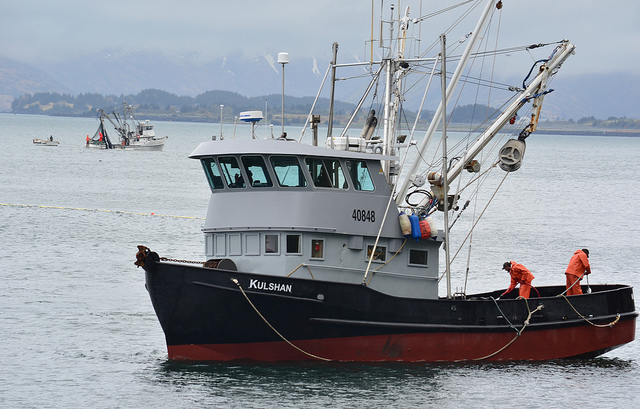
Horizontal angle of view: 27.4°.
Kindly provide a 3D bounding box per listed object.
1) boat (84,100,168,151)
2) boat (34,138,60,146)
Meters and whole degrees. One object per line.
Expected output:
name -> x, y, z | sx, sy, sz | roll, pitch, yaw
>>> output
boat -> -26.627, -10.735, 181.226 | 12.117, 6.757, 3.883 | -2, 16, -28
boat -> -38.795, -8.824, 186.556 | 3.129, 1.092, 2.378 | -2, -6, 17
